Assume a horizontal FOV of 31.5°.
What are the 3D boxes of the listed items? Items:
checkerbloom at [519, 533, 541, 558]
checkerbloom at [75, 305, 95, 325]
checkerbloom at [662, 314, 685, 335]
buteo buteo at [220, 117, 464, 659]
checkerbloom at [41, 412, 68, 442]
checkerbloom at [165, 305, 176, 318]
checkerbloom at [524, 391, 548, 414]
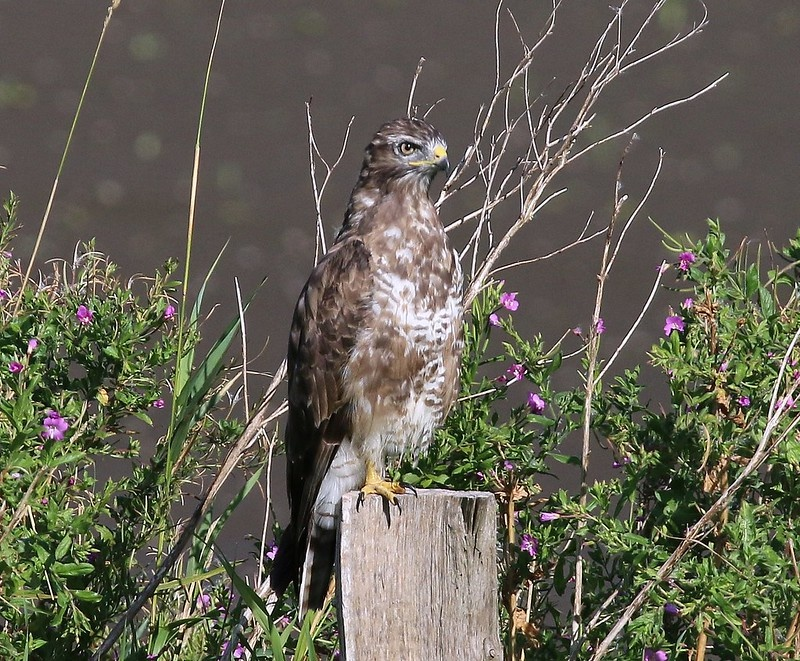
[{"bbox_3d":[0.468,0.778,5.166,0.058,0.079,0.077,11,-39,-11],"label":"checkerbloom"},{"bbox_3d":[-1.119,-0.055,5.052,0.062,0.056,0.055,11,-39,-10],"label":"checkerbloom"},{"bbox_3d":[0.922,-0.019,4.770,0.072,0.087,0.040,-17,-3,15],"label":"checkerbloom"},{"bbox_3d":[-0.119,0.135,5.155,0.707,1.617,0.720,-5,-36,11],"label":"buteo buteo"},{"bbox_3d":[-1.186,0.336,4.906,0.073,0.105,0.045,2,-8,-31],"label":"checkerbloom"},{"bbox_3d":[-0.830,-0.067,5.151,0.017,0.035,0.041,10,-22,43],"label":"checkerbloom"},{"bbox_3d":[0.496,0.264,5.189,0.031,0.075,0.064,-19,-7,-26],"label":"checkerbloom"}]
